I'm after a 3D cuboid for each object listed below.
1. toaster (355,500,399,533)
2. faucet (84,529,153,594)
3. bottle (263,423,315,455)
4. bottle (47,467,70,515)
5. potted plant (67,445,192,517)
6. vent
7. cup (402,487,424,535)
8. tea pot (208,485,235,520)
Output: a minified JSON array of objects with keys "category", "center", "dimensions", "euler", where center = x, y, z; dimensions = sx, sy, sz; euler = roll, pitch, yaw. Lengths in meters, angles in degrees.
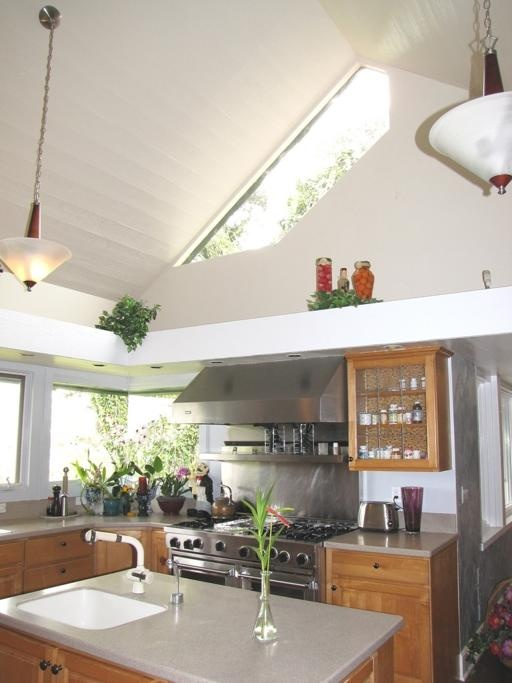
[{"category":"toaster","center":[0.824,1.188,3.584],"dimensions":[0.334,0.246,0.183],"euler":[-10,-23,37]},{"category":"faucet","center":[-0.510,0.809,1.996],"dimensions":[0.224,0.250,0.662],"euler":[3,-14,-10]},{"category":"bottle","center":[0.232,0.787,4.246],"dimensions":[0.247,0.238,0.498],"euler":[13,-18,-42]},{"category":"bottle","center":[-1.723,1.309,4.602],"dimensions":[0.178,0.403,0.403],"euler":[6,-14,-20]},{"category":"potted plant","center":[-1.130,1.287,4.943],"dimensions":[0.944,0.460,0.531],"euler":[2,-7,-28]},{"category":"vent","center":[-0.013,0.385,4.055],"dimensions":[1.396,0.497,0.430],"euler":[-7,-10,36]},{"category":"cup","center":[1.060,1.128,3.529],"dimensions":[0.129,0.294,0.258],"euler":[-3,-14,17]},{"category":"tea pot","center":[-0.269,1.347,4.385],"dimensions":[0.182,0.281,0.283],"euler":[-4,-22,10]}]
